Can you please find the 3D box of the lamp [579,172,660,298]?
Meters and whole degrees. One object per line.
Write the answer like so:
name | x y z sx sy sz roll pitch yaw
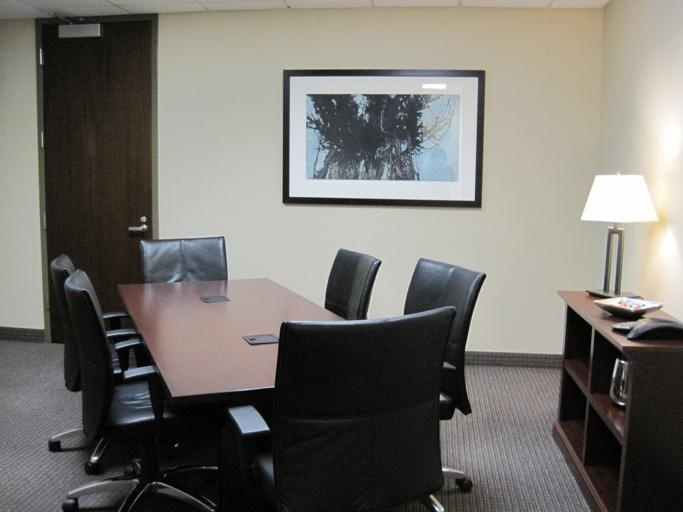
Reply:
lamp | 1.817 -0.112 3.570 0.431 0.850 0.801 7 12 30
